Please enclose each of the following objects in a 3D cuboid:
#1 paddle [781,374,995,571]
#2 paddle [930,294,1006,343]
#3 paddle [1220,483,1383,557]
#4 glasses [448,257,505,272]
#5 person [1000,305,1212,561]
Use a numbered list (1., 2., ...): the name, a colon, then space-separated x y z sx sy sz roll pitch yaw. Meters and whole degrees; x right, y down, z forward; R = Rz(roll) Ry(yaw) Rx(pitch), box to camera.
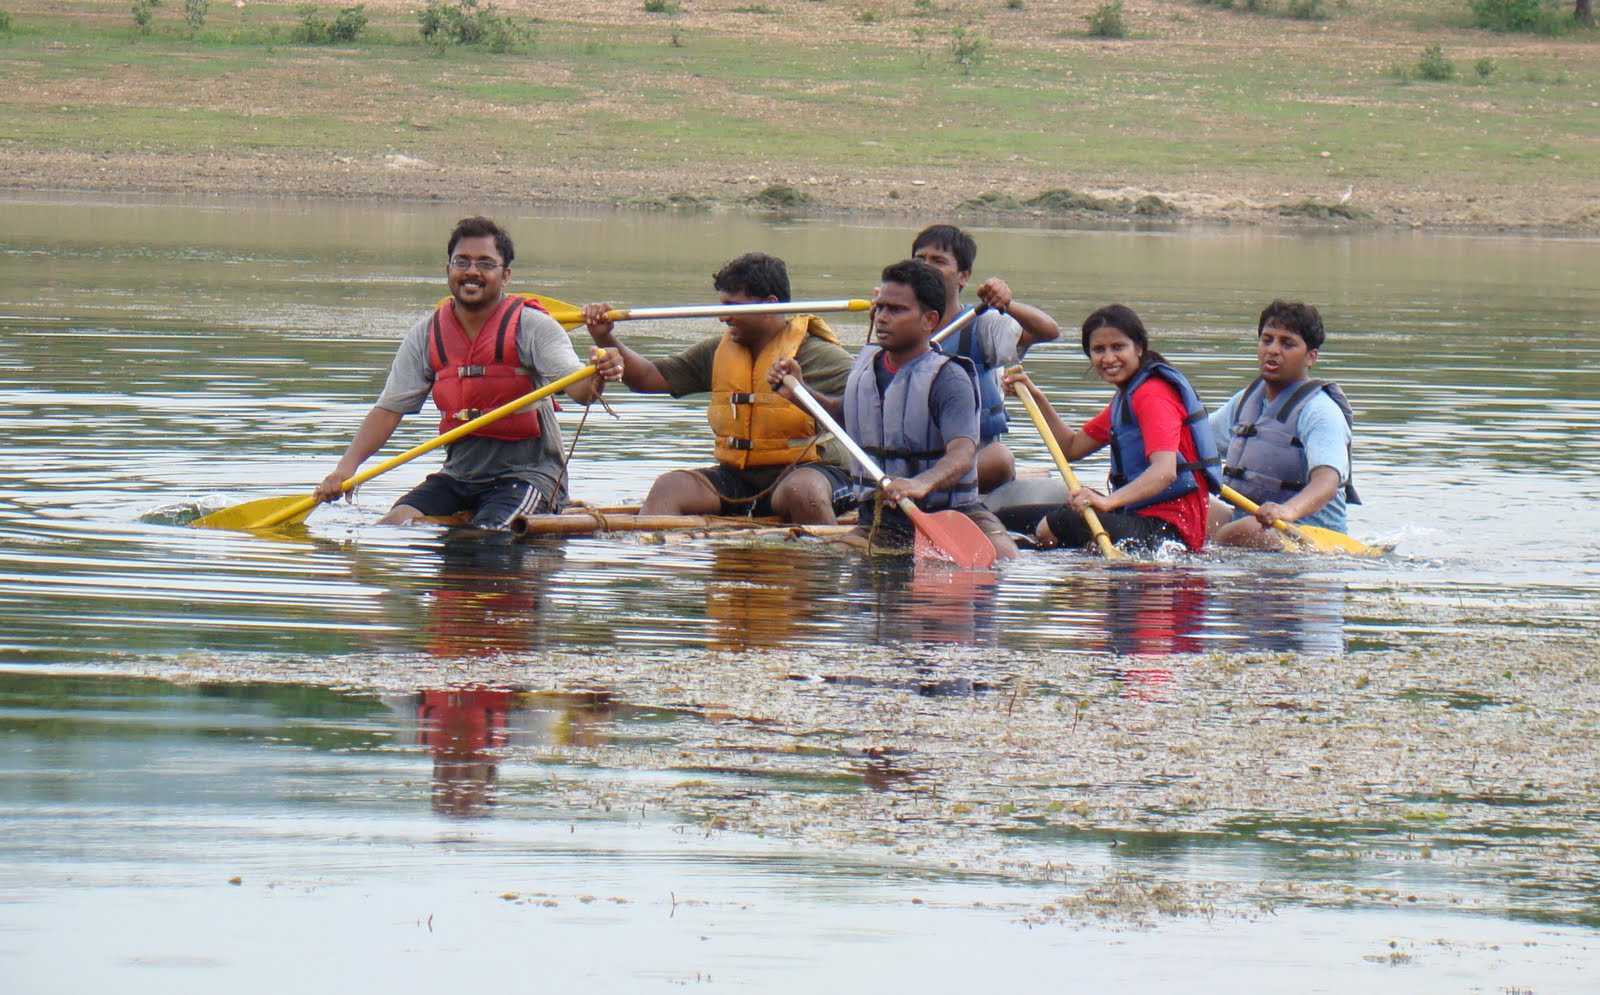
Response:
1. paddle: 0.760 -0.173 25.484 2.650 0.182 0.559 34 68 18
2. paddle: 1.330 -1.493 25.890 0.881 0.179 0.236 -27 50 -19
3. paddle: 4.239 0.203 25.860 1.389 0.574 0.672 1 7 7
4. glasses: -2.689 -1.934 25.439 0.425 0.116 0.141 -1 7 -11
5. person: 2.649 -0.572 25.669 1.375 2.053 0.998 9 11 43
